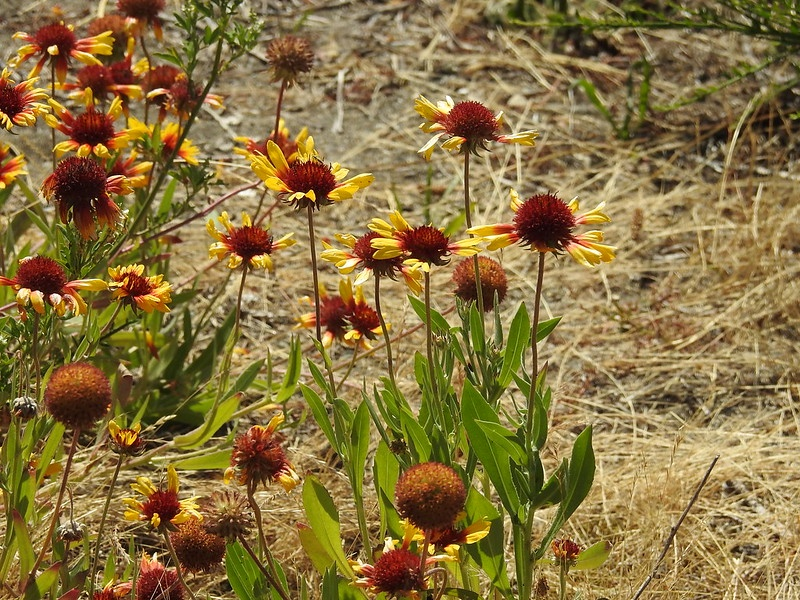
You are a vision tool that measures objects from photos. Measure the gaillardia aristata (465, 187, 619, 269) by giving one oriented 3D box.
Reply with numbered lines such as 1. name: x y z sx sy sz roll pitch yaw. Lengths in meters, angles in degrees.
1. gaillardia aristata: 0.503 -0.240 4.009 0.293 0.174 0.339 -7 24 -6
